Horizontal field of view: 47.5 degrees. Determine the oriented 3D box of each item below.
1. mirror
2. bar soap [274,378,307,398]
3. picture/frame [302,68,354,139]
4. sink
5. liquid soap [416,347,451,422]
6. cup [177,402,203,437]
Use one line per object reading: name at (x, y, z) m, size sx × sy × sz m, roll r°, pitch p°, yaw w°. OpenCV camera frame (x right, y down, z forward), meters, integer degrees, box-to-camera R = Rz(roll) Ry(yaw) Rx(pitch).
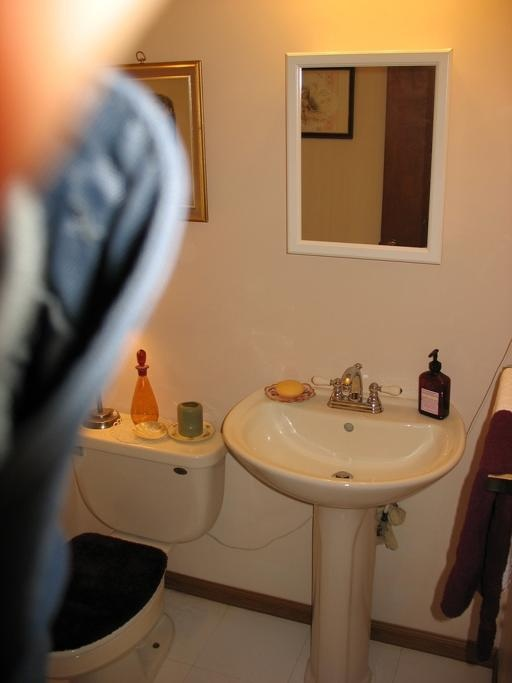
mirror at (0.209, -0.453, 1.348) m, size 0.284 × 0.405 × 0.015 m, roll -4°, pitch 11°, yaw -16°
bar soap at (0.083, 0.112, 1.404) m, size 0.052 × 0.032 × 0.044 m, roll -1°, pitch 2°, yaw 15°
picture/frame at (0.148, -0.519, 1.260) m, size 0.129 × 0.161 × 0.007 m, roll 0°, pitch 3°, yaw -6°
sink at (0.172, 0.236, 1.255) m, size 0.510 × 0.133 × 0.418 m, roll 7°, pitch 18°, yaw 22°
liquid soap at (0.395, 0.103, 1.303) m, size 0.081 × 0.130 × 0.063 m, roll 10°, pitch 19°, yaw 31°
cup at (-0.162, 0.208, 1.560) m, size 0.072 × 0.091 × 0.076 m, roll -1°, pitch 11°, yaw 0°
